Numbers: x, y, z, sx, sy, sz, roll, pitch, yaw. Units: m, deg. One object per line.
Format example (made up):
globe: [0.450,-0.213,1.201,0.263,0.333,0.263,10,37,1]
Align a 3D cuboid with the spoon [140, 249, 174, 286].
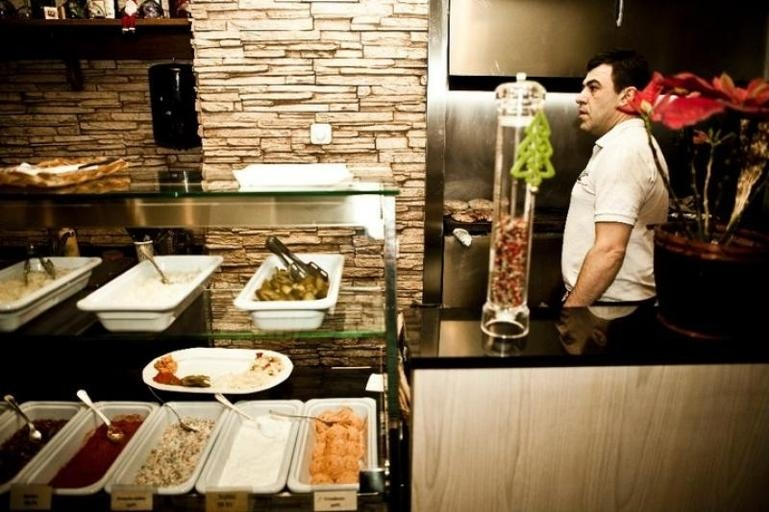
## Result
spoon: [-0.917,0.050,2.404,0.043,0.033,0.202,-32,56,-19]

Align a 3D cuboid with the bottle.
bottle: [0.366,-0.133,1.828,0.220,0.795,0.191,-1,12,6]

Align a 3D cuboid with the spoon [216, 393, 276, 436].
spoon: [-0.543,0.624,2.329,0.289,0.126,0.289,-2,10,-8]

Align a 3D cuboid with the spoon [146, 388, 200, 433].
spoon: [-0.826,0.611,2.345,0.250,0.035,0.051,38,16,11]

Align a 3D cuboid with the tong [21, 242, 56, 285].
tong: [-1.310,0.038,2.345,0.090,0.126,0.084,-13,28,-3]

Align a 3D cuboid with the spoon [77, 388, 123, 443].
spoon: [-1.095,0.625,2.323,0.134,0.206,0.141,7,9,6]
